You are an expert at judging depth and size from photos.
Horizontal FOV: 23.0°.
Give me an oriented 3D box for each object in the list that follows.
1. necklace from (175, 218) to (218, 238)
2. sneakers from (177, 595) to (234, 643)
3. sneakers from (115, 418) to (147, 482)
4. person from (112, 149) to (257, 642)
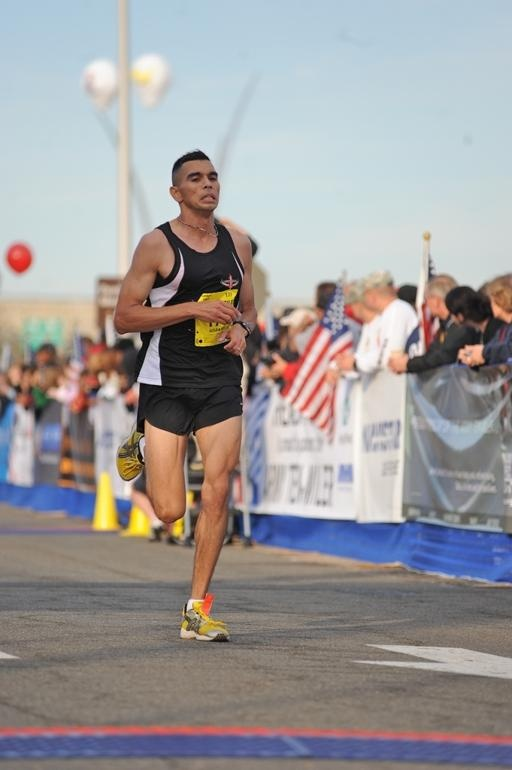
[{"bbox_3d":[-0.239,-0.659,5.322,0.197,0.046,0.142,15,12,20],"label":"necklace"},{"bbox_3d":[-0.208,0.951,5.099,0.197,0.176,0.195,2,1,-1],"label":"sneakers"},{"bbox_3d":[-0.548,0.302,5.594,0.115,0.252,0.116,8,16,-30],"label":"sneakers"},{"bbox_3d":[-0.320,0.032,5.353,0.594,1.984,0.717,2,0,-1],"label":"person"}]
